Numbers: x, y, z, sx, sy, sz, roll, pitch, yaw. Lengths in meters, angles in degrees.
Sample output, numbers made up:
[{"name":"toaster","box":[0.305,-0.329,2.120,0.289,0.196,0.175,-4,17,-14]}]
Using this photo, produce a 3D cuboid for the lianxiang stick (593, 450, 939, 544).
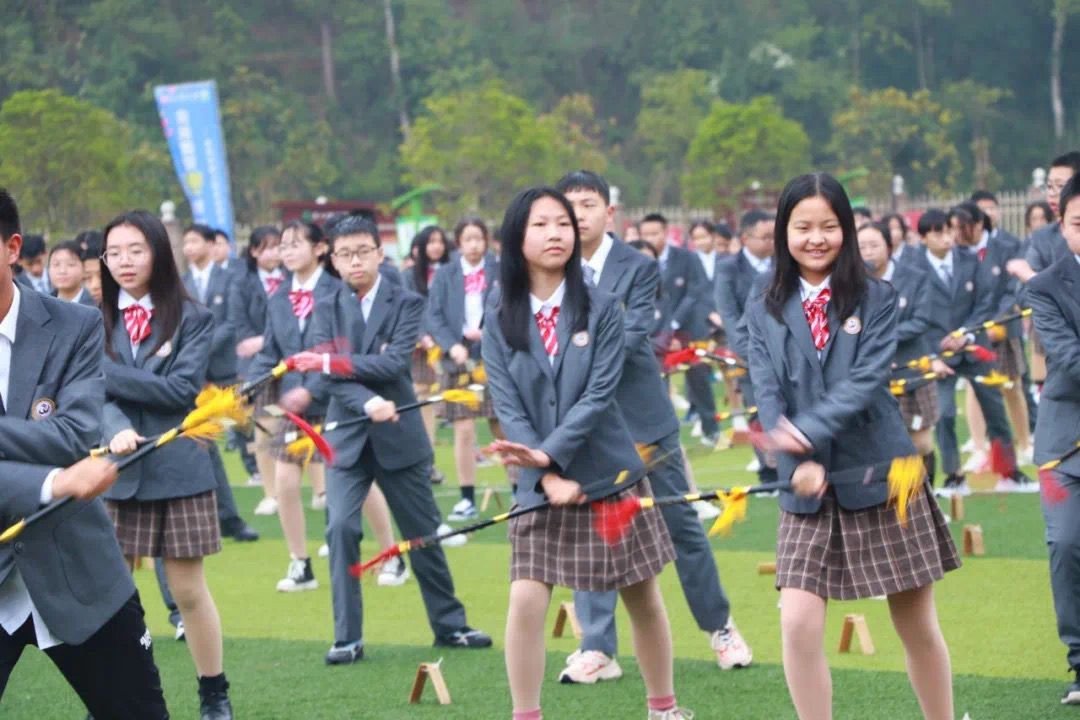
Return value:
[{"name":"lianxiang stick","box":[1.099,0.692,6.656,1.635,0.410,0.315,-3,0,14]}]

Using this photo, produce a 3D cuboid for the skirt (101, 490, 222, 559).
[{"name":"skirt","box":[-2.086,0.929,7.509,0.666,0.570,0.359,-7,-8,-7]}]

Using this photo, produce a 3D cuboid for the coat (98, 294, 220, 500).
[{"name":"coat","box":[-2.136,0.251,7.608,0.503,1.204,0.675,2,-2,-42]}]

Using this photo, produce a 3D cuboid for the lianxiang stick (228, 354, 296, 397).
[{"name":"lianxiang stick","box":[-1.890,0.115,9.103,0.441,0.147,0.161,-23,-6,-24]}]

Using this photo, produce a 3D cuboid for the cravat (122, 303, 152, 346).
[{"name":"cravat","box":[-2.291,-0.200,7.553,0.188,0.221,0.077,0,-5,9]}]
